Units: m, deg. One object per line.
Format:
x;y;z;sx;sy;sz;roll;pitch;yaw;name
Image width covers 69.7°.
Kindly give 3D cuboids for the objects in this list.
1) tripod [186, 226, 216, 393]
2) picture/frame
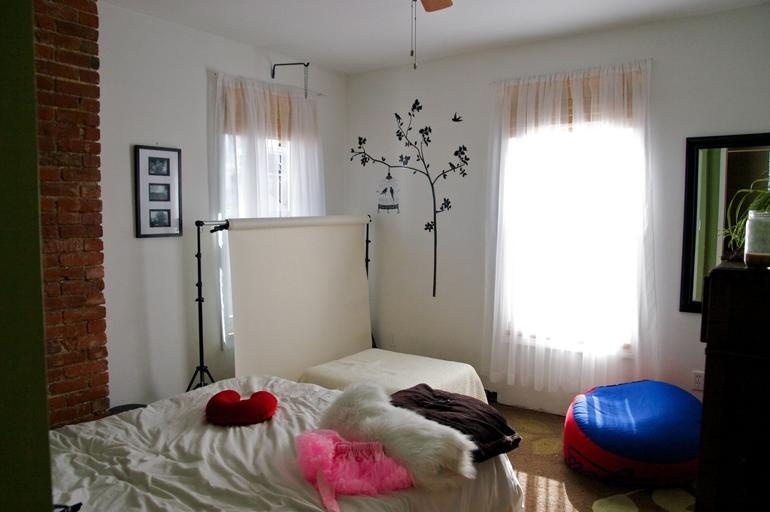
-1.520;0.396;4.410;0.211;1.351;0.342;-3;8;-20;tripod
-1.747;-0.487;4.267;0.023;0.670;0.364;8;9;36;picture/frame
